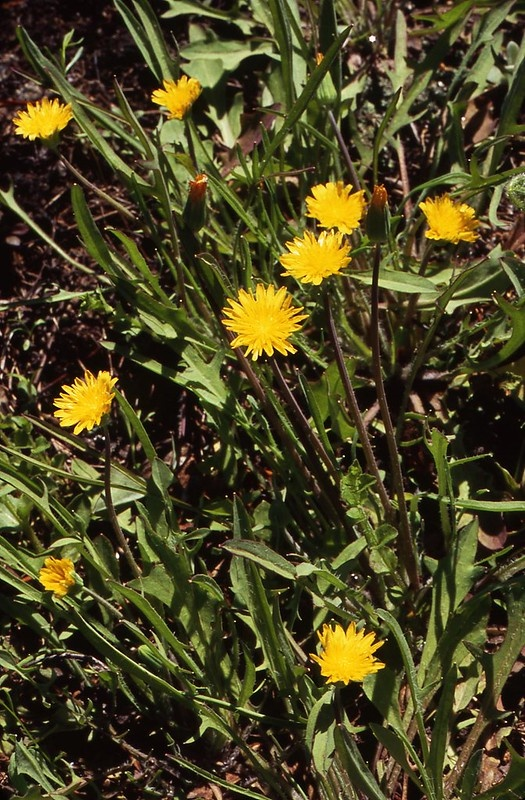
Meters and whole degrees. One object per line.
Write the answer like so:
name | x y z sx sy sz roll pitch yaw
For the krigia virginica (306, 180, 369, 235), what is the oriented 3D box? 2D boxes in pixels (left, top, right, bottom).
krigia virginica | 0.114 -0.308 1.107 0.082 0.082 0.038 6 71 13

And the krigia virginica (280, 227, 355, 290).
krigia virginica | 0.086 -0.215 1.045 0.099 0.104 0.049 -10 75 51

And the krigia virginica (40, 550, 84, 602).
krigia virginica | -0.335 0.286 1.139 0.070 0.046 0.074 -17 71 28

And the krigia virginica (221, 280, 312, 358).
krigia virginica | -0.003 -0.137 1.073 0.139 0.133 0.062 -175 81 -65

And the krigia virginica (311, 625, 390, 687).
krigia virginica | 0.110 0.333 0.934 0.086 0.094 0.043 7 92 61
